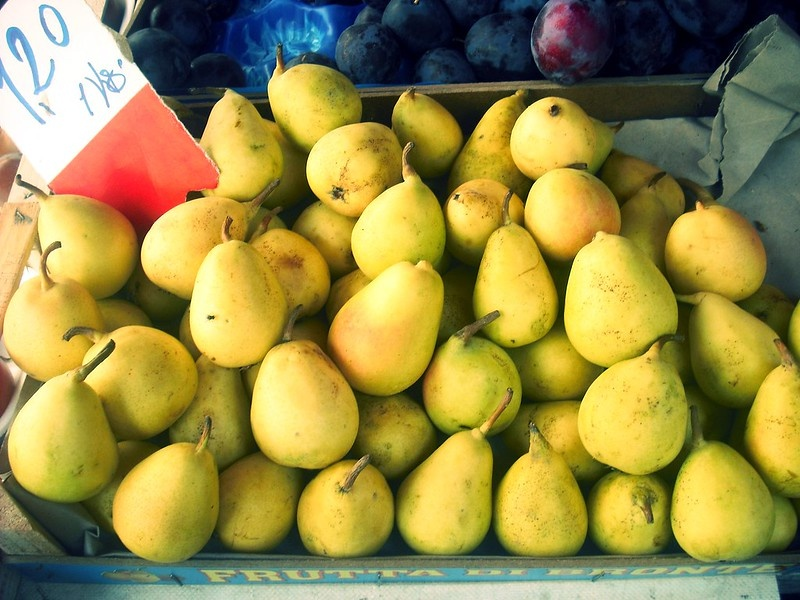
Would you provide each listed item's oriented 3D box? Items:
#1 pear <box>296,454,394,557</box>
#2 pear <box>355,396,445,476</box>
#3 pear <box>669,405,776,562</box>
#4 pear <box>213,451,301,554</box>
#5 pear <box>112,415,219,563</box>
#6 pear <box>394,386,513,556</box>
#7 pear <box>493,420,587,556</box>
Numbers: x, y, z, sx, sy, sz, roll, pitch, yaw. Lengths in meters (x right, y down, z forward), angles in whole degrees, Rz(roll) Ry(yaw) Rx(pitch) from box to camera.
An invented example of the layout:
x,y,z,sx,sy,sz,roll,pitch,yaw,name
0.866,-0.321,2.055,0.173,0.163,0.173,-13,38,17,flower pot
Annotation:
x,y,z,sx,sy,sz,roll,pitch,yaw,name
-0.101,0.348,1.355,0.168,0.143,0.149,-12,56,-1,pear
-0.015,0.234,1.488,0.104,0.091,0.151,0,24,-9,pear
0.542,0.314,1.377,0.158,0.162,0.273,-7,86,-41,pear
-0.249,0.361,1.448,0.112,0.119,0.163,27,43,2,pear
-0.384,0.338,1.340,0.207,0.121,0.156,-23,57,-8,pear
0.096,0.280,1.392,0.166,0.387,0.178,6,38,-15,pear
0.249,0.338,1.415,0.152,0.231,0.148,-13,16,-36,pear
